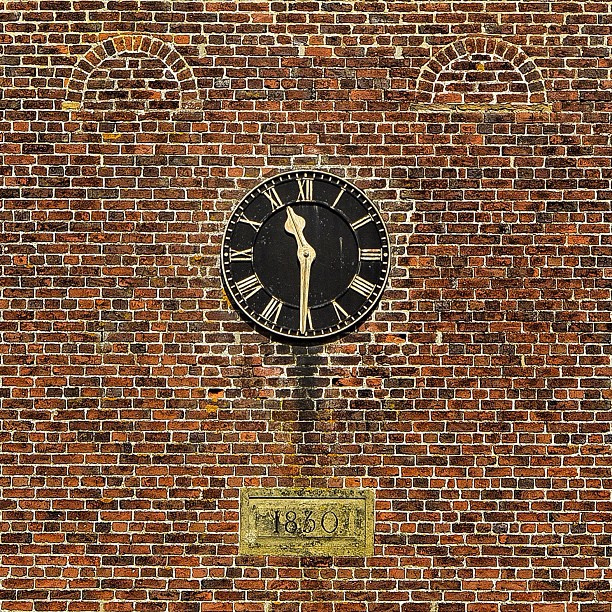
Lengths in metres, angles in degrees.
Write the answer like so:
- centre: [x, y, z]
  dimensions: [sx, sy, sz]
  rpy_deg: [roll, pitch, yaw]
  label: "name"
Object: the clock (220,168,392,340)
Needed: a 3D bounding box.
- centre: [-0.032, -0.303, 14.071]
  dimensions: [1.086, 0.071, 1.113]
  rpy_deg: [0, 90, 4]
  label: "clock"
